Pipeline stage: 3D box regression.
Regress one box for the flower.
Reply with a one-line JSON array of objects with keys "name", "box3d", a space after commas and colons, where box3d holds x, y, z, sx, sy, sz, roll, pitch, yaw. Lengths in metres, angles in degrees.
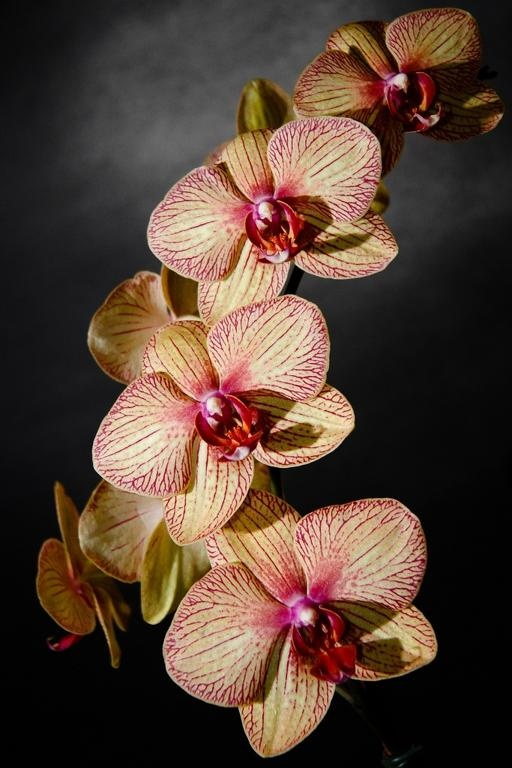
[{"name": "flower", "box3d": [-0.047, 0.075, 0.944, 0.438, 0.957, 0.566, 16, 29, -1]}]
